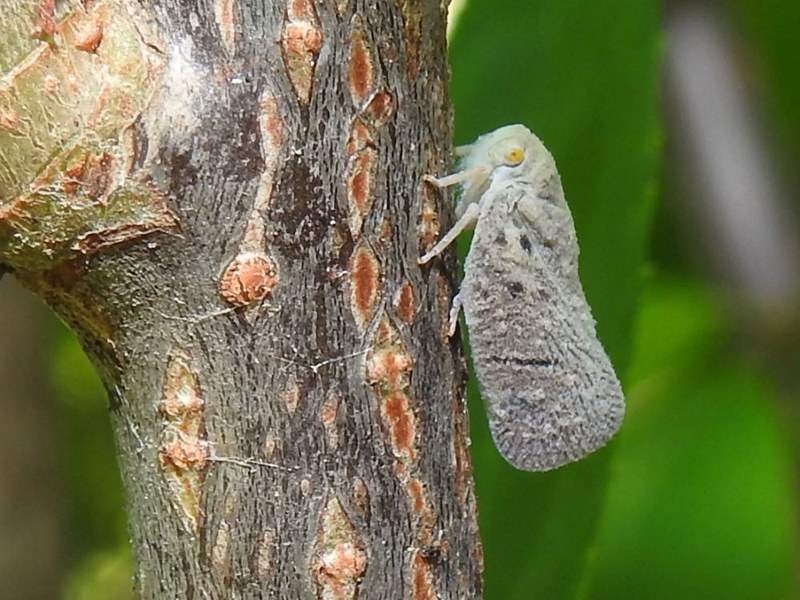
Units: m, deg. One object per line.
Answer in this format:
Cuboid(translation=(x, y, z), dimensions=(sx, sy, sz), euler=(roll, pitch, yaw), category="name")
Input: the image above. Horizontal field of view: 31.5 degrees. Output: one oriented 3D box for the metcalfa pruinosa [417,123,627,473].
Cuboid(translation=(0.196, 0.028, 2.164), dimensions=(0.149, 0.516, 0.331), euler=(-7, 12, 31), category="metcalfa pruinosa")
